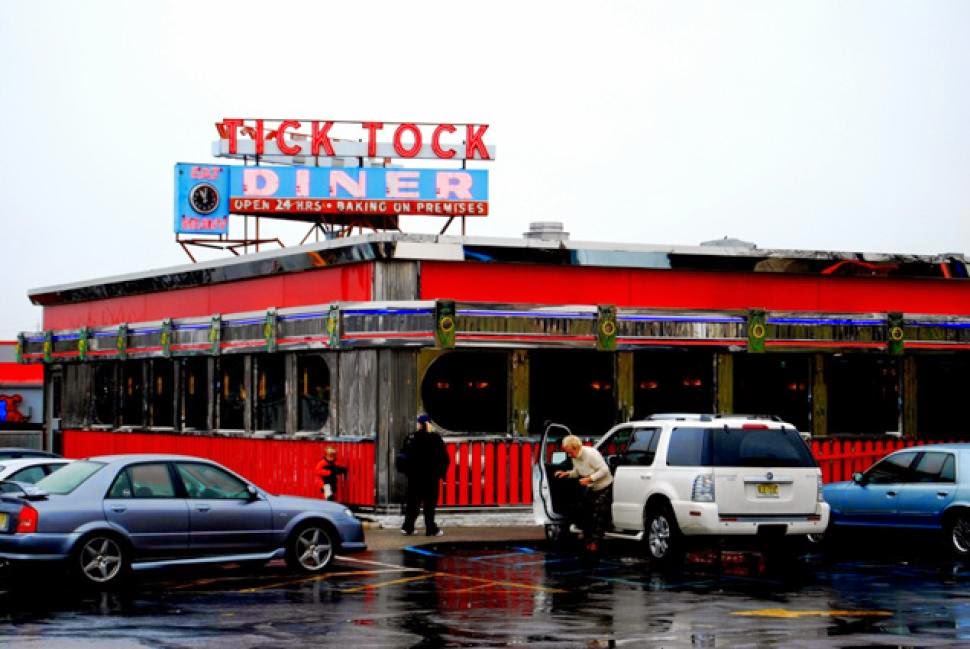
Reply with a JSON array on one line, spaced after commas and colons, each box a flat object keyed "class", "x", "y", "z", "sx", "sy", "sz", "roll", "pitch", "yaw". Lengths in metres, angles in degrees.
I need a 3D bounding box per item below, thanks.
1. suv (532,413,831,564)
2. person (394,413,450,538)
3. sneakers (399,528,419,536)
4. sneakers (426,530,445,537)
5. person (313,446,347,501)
[{"class": "suv", "x": 3.079, "y": 2.636, "z": 23.423, "sx": 2.792, "sy": 1.495, "sz": 3.834, "roll": 2, "pitch": -1, "yaw": -25}, {"class": "person", "x": -1.245, "y": 2.963, "z": 26.577, "sx": 1.045, "sy": 2.349, "sz": 0.714, "roll": 0, "pitch": -6, "yaw": -14}, {"class": "sneakers", "x": -1.498, "y": 4.060, "z": 26.449, "sx": 0.119, "sy": 0.133, "sz": 0.323, "roll": 1, "pitch": -3, "yaw": 40}, {"class": "sneakers", "x": -0.998, "y": 4.100, "z": 26.456, "sx": 0.335, "sy": 0.147, "sz": 0.132, "roll": -16, "pitch": -11, "yaw": 36}, {"class": "person", "x": -3.256, "y": 3.178, "z": 28.375, "sx": 0.645, "sy": 1.243, "sz": 0.468, "roll": -6, "pitch": 12, "yaw": -18}]
